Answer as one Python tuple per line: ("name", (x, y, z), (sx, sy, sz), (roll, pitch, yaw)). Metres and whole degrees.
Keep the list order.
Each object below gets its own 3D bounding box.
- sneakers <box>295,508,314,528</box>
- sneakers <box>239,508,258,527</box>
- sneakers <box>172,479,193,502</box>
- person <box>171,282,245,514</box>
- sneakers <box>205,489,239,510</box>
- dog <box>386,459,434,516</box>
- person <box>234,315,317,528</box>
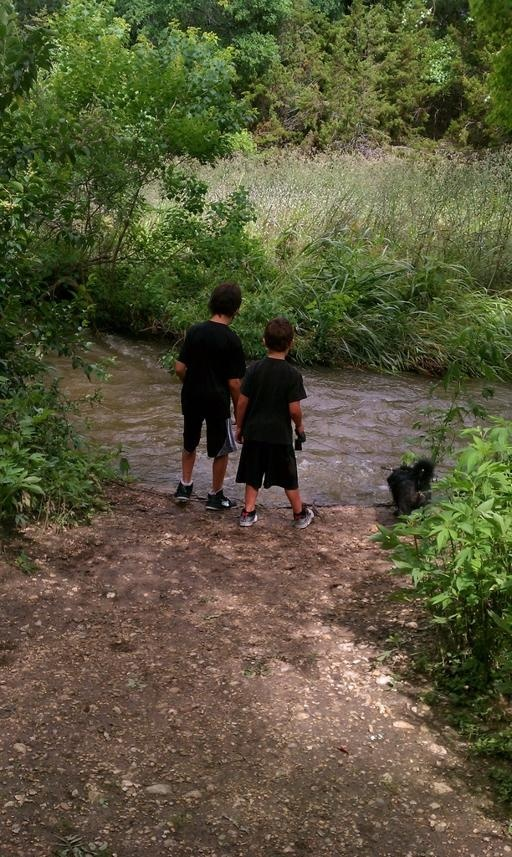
("sneakers", (0.317, 0.564, 4.543), (0.066, 0.076, 0.181), (2, 23, 22))
("sneakers", (-0.053, 0.563, 4.493), (0.056, 0.069, 0.154), (3, 18, 9))
("sneakers", (-0.495, 0.420, 4.754), (0.147, 0.165, 0.392), (6, -2, -7))
("person", (-0.309, -0.195, 4.625), (0.438, 1.509, 0.416), (1, 15, -7))
("sneakers", (-0.233, 0.460, 4.790), (0.261, 0.148, 0.092), (-10, 20, -39))
("dog", (1.028, 0.378, 4.635), (0.213, 0.441, 0.427), (3, 14, -2))
("person", (0.141, -0.033, 4.422), (0.537, 1.304, 0.320), (3, 15, -1))
